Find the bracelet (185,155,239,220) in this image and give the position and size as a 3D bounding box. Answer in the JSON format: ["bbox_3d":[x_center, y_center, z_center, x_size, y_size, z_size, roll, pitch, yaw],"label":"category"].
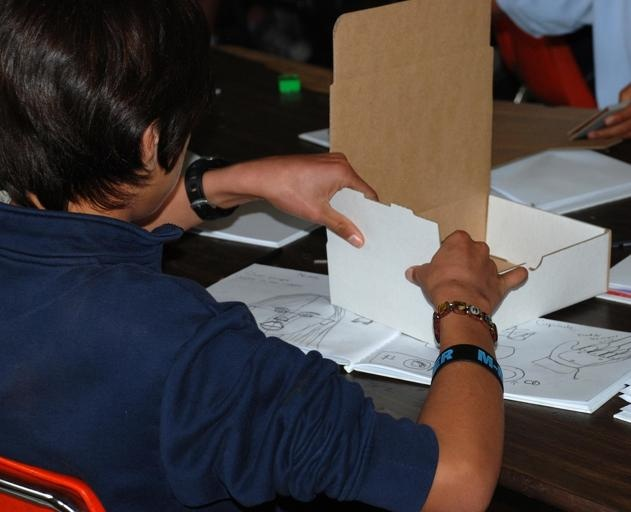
[{"bbox_3d":[-0.232,-0.134,1.300,0.080,0.139,0.123,-19,67,44],"label":"bracelet"}]
